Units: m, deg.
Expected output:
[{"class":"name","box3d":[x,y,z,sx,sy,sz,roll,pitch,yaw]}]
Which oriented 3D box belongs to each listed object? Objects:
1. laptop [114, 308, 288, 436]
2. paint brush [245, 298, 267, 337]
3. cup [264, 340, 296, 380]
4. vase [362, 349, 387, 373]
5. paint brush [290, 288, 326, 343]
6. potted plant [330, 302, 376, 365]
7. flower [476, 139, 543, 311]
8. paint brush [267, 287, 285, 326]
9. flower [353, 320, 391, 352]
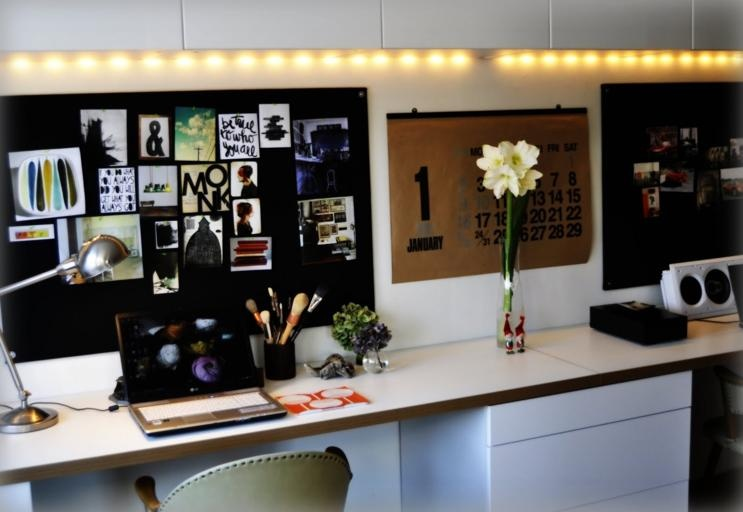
[{"class":"laptop","box3d":[-0.681,0.310,2.323,0.512,0.337,0.488,-4,8,-27]},{"class":"paint brush","box3d":[-0.506,0.268,2.621,0.041,0.161,0.041,-22,11,26]},{"class":"cup","box3d":[-0.390,0.450,2.663,0.153,0.173,0.147,0,4,0]},{"class":"vase","box3d":[0.016,0.448,2.618,0.094,0.136,0.095,-2,-8,35]},{"class":"paint brush","box3d":[-0.263,0.228,2.665,0.088,0.310,0.035,27,8,-36]},{"class":"potted plant","box3d":[-0.075,0.345,2.628,0.195,0.212,0.202,0,2,-1]},{"class":"flower","box3d":[0.630,-0.147,2.848,0.274,0.772,0.304,-9,10,-21]},{"class":"paint brush","box3d":[-0.413,0.218,2.657,0.053,0.214,0.027,-15,1,-20]},{"class":"flower","box3d":[0.002,0.347,2.644,0.125,0.142,0.130,1,1,3]}]
